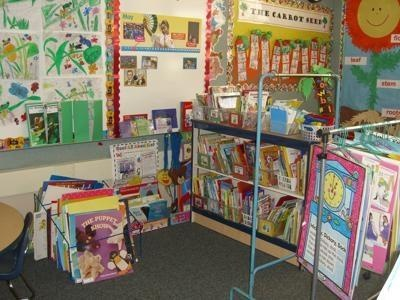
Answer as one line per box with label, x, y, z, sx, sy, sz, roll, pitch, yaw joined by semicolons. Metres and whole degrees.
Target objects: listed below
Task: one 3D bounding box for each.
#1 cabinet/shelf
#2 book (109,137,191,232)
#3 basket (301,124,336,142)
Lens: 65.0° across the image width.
cabinet/shelf;0.488;0.147;3.395;0.661;1.561;1.728;-9;17;-43
book;-0.621;0.394;3.669;0.928;1.083;0.043;-9;10;-37
basket;0.906;-0.135;2.399;0.138;0.080;0.176;-3;9;-26
